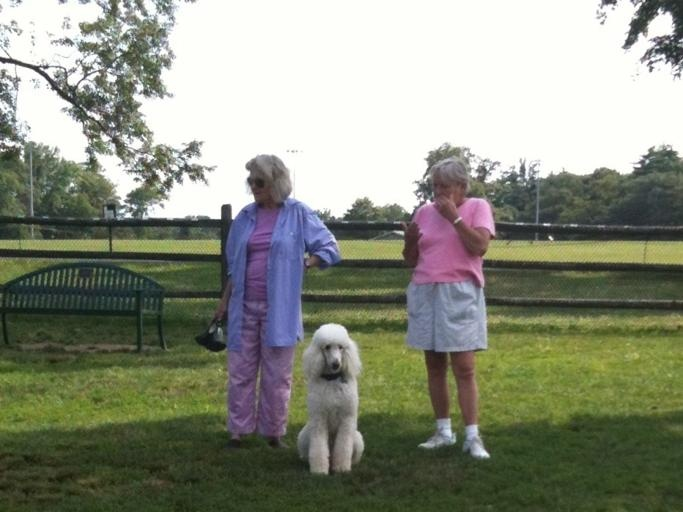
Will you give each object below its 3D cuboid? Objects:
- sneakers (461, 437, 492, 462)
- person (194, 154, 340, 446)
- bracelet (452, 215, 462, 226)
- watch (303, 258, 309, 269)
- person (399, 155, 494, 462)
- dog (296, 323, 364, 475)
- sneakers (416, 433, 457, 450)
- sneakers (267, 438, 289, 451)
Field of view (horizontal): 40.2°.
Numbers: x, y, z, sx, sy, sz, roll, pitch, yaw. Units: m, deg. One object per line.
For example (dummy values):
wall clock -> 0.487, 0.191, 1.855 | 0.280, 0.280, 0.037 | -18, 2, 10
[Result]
sneakers -> 1.639, 2.278, 11.162 | 0.311, 0.226, 0.294 | 0, 13, -4
person -> -0.897, 0.547, 11.454 | 1.326, 3.456, 0.843 | -2, 12, -10
bracelet -> 1.394, -0.419, 11.144 | 0.050, 0.097, 0.080 | 36, 25, 6
watch -> -0.404, 0.094, 11.353 | 0.024, 0.104, 0.098 | 1, 3, -21
person -> 1.298, 0.574, 11.341 | 1.094, 3.421, 1.045 | 4, 13, 14
dog -> -0.105, 1.694, 10.996 | 0.674, 1.600, 0.643 | 0, 12, -2
sneakers -> 1.156, 2.244, 11.427 | 0.492, 0.243, 0.190 | -2, -3, -7
sneakers -> -0.767, 2.324, 11.483 | 0.205, 0.096, 0.116 | -1, 4, 20
